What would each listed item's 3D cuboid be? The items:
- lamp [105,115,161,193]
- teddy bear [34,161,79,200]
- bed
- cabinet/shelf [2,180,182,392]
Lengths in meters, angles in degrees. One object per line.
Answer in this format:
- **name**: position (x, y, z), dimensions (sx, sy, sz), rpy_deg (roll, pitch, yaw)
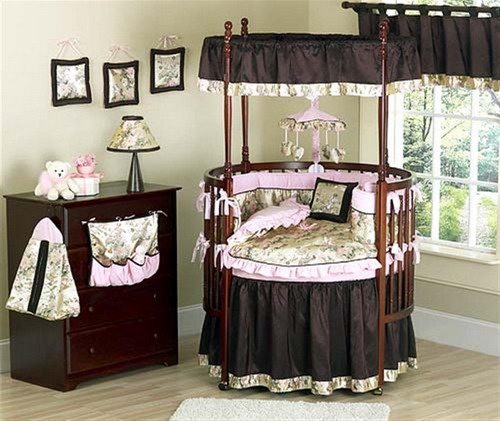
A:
- **lamp**: position (-0.737, -0.363, 3.345), dimensions (0.305, 0.494, 0.312), rpy_deg (7, 16, 24)
- **teddy bear**: position (-1.117, -0.170, 3.020), dimensions (0.222, 0.209, 0.150), rpy_deg (-1, 30, -24)
- **bed**: position (0.343, -0.068, 3.262), dimensions (1.210, 2.173, 1.114), rpy_deg (4, 12, 18)
- **cabinet/shelf**: position (-0.977, 0.449, 3.094), dimensions (0.626, 1.357, 1.008), rpy_deg (4, 7, 40)
